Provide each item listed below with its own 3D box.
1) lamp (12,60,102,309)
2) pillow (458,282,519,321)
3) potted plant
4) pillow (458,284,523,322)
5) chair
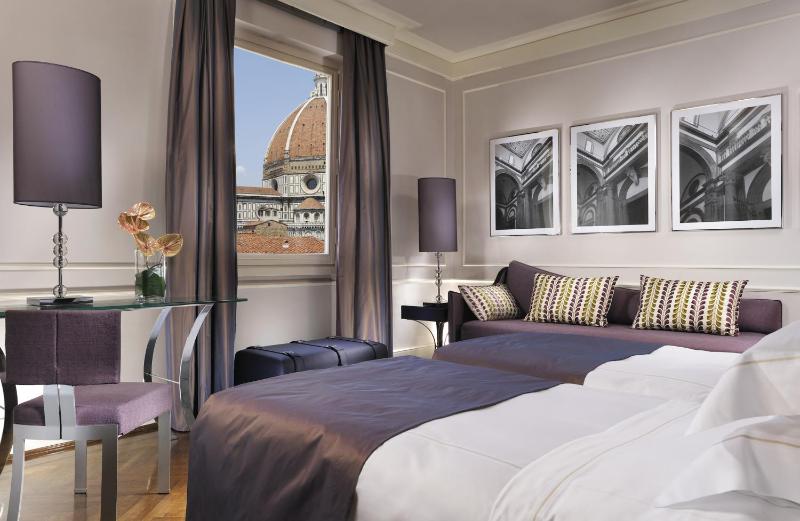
[{"bbox_3d":[-1.993,-0.725,3.158,0.457,0.813,0.166,-4,8,-22],"label":"lamp"},{"bbox_3d":[0.851,0.346,5.280,0.492,0.156,0.530,19,14,20],"label":"pillow"},{"bbox_3d":[-1.581,-0.047,3.446,0.475,0.570,0.312,-5,2,-30],"label":"potted plant"},{"bbox_3d":[0.905,0.381,5.282,0.626,0.181,0.658,3,32,8],"label":"pillow"},{"bbox_3d":[-1.625,0.786,2.835,0.600,1.150,0.614,0,7,5],"label":"chair"}]
